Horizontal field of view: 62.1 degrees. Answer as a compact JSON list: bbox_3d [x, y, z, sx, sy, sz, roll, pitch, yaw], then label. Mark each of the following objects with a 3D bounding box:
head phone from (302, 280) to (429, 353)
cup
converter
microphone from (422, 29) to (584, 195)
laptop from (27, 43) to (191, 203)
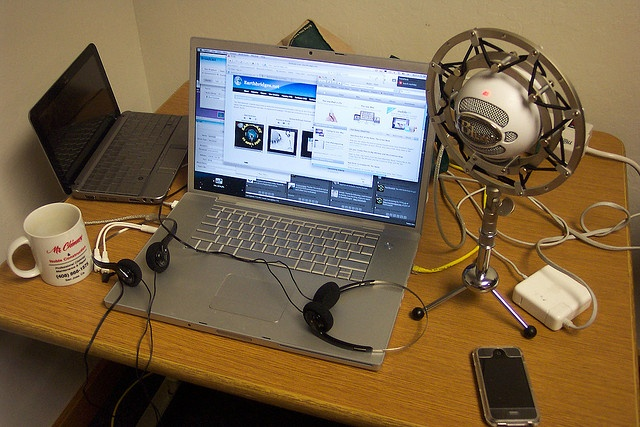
[{"bbox_3d":[0.102,0.218,1.136,0.280,0.101,0.148,4,25,-6],"label":"head phone"},{"bbox_3d":[-0.575,0.070,1.241,0.222,0.171,0.141,-21,50,-16],"label":"cup"},{"bbox_3d":[0.509,0.178,1.160,0.127,0.038,0.127,-34,52,-26],"label":"converter"},{"bbox_3d":[0.354,-0.198,1.028,0.313,0.299,0.169,18,28,23],"label":"microphone"},{"bbox_3d":[-0.543,-0.158,1.590,0.423,0.411,0.536,2,52,11],"label":"laptop"}]
